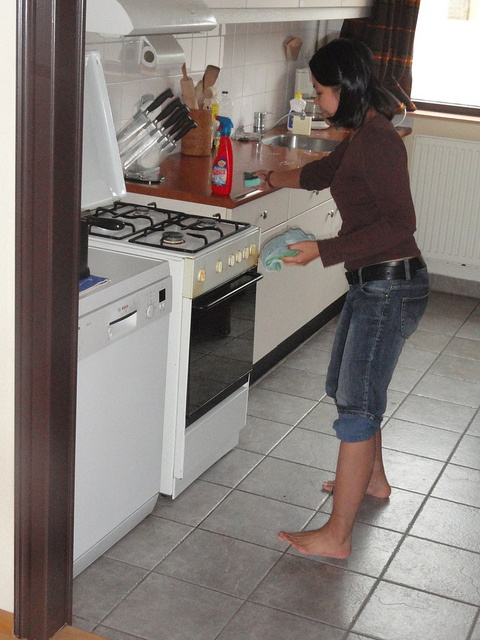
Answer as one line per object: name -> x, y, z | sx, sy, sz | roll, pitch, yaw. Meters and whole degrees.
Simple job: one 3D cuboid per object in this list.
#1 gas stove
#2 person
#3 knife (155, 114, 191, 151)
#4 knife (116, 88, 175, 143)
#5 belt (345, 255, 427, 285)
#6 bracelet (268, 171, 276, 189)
gas stove -> -0.308, -0.358, 2.043 | 0.577, 0.139, 0.490 | 9, 14, 22
person -> 0.383, -0.058, 1.852 | 0.459, 1.590, 0.583 | 8, 14, 18
knife -> -0.305, -0.871, 2.523 | 0.035, 0.121, 0.191 | -10, 43, 47
knife -> -0.405, -0.857, 2.318 | 0.241, 0.223, 0.082 | 9, 14, 22
belt -> 0.433, -0.150, 1.665 | 0.131, 0.039, 0.130 | -4, 12, 29
bracelet -> 0.142, -0.631, 2.419 | 0.013, 0.051, 0.054 | 4, -12, -7
